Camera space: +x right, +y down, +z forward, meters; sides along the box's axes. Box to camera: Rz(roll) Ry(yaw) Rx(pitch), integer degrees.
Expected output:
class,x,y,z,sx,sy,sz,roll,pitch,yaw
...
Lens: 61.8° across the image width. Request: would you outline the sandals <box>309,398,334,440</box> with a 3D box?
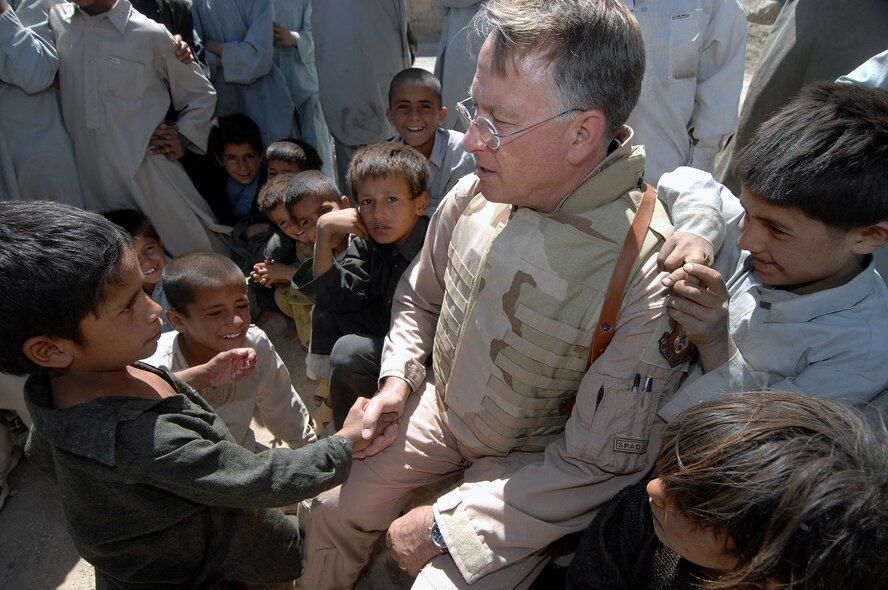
class,x,y,z,sx,sy,sz,roll,pitch,yaw
sandals,-0.736,0.735,4.462,0.125,0.156,0.367,-4,30,-13
